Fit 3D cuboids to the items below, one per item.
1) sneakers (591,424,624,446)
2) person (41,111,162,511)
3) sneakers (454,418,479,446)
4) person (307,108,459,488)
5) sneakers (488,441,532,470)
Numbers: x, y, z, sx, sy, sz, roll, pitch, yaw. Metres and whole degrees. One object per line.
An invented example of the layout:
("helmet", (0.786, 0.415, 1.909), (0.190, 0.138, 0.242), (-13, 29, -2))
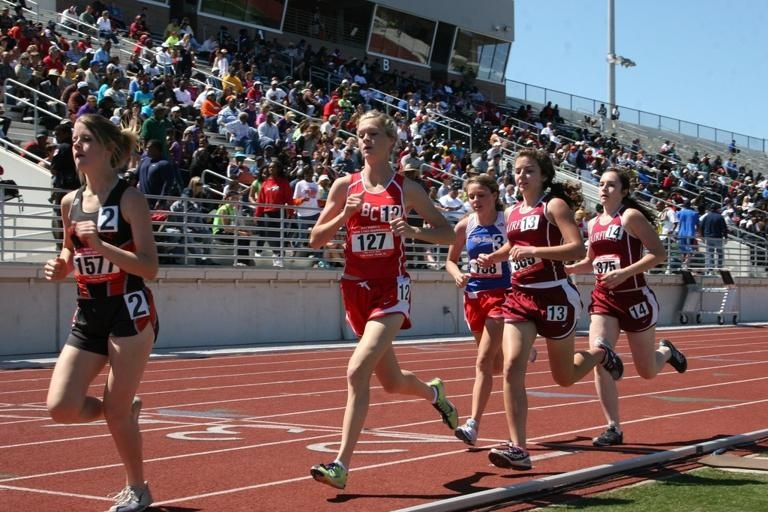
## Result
("sneakers", (2.145, 1.728, 7.597), (0.381, 0.148, 0.128), (4, -5, -27))
("person", (-2.006, 0.419, 5.715), (0.806, 2.843, 0.718), (3, 3, -22))
("sneakers", (0.779, 1.617, 7.205), (0.125, 0.156, 0.334), (26, -12, 27))
("person", (-0.171, 0.253, 6.473), (0.846, 2.888, 1.272), (7, 4, 34))
("sneakers", (0.975, 1.643, 6.515), (0.433, 0.182, 0.154), (12, -9, -12))
